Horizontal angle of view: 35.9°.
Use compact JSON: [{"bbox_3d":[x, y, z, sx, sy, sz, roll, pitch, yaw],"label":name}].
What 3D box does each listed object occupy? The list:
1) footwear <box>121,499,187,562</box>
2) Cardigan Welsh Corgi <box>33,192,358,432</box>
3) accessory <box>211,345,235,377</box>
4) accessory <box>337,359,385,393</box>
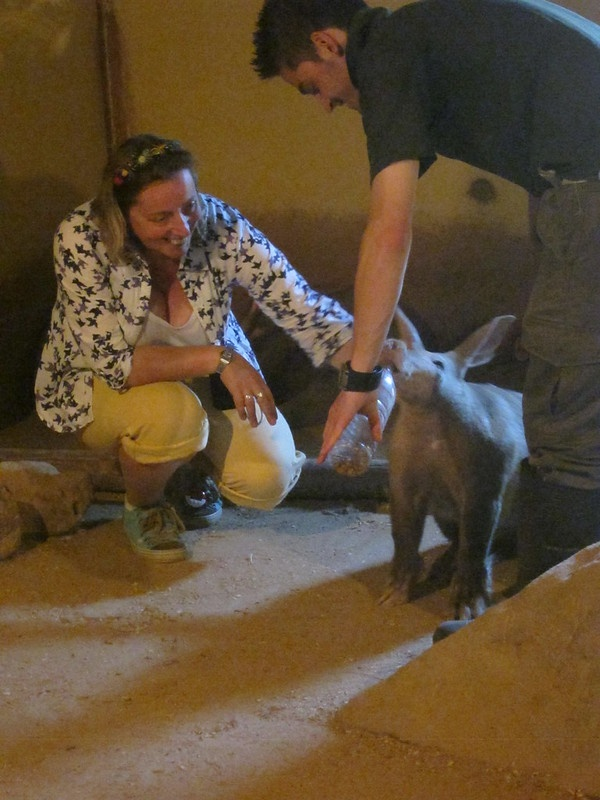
[{"bbox_3d":[-0.438,0.367,2.796,0.141,0.105,0.317,-23,25,-4],"label":"footwear"},{"bbox_3d":[-0.367,-0.324,2.626,0.955,0.680,0.521,-17,51,-28],"label":"Cardigan Welsh Corgi"},{"bbox_3d":[-0.195,-0.108,2.480,0.059,0.074,0.079,25,-6,-2],"label":"accessory"},{"bbox_3d":[0.137,-0.055,2.056,0.095,0.039,0.079,3,13,14],"label":"accessory"}]
